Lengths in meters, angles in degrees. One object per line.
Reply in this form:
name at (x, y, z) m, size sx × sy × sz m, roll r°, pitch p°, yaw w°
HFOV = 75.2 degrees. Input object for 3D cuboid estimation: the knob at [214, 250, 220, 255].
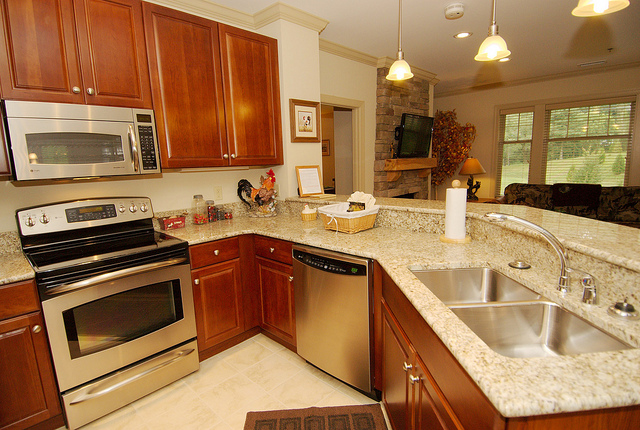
knob at (-0.875, 0.316, 3.533) m, size 0.028 × 0.022 × 0.026 m, roll 13°, pitch 25°, yaw 34°

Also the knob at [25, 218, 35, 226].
knob at (-2.173, 0.051, 3.116) m, size 0.059 × 0.057 × 0.018 m, roll -10°, pitch 13°, yaw -34°

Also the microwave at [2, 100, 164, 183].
microwave at (-1.899, -0.400, 3.277) m, size 0.594 × 0.615 × 0.991 m, roll 8°, pitch 11°, yaw 39°

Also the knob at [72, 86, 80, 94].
knob at (-1.847, -0.954, 3.149) m, size 0.046 × 0.047 × 0.018 m, roll -9°, pitch 13°, yaw -31°

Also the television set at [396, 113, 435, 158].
television set at (1.384, -1.160, 6.141) m, size 0.141 × 0.624 × 1.065 m, roll 7°, pitch 9°, yaw 35°

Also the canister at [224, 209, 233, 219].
canister at (-0.916, -0.008, 4.174) m, size 0.080 × 0.085 × 0.081 m, roll -3°, pitch 9°, yaw -6°

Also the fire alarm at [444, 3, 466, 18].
fire alarm at (1.341, -2.064, 4.187) m, size 0.190 × 0.096 × 0.168 m, roll -9°, pitch 12°, yaw -33°

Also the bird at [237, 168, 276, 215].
bird at (-0.648, -0.233, 4.210) m, size 0.436 × 0.433 × 0.204 m, roll 7°, pitch 14°, yaw 42°

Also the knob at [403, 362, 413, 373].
knob at (0.552, 0.964, 2.650) m, size 0.049 × 0.024 × 0.067 m, roll 2°, pitch 3°, yaw 18°

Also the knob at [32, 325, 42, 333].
knob at (-1.975, 0.796, 2.905) m, size 0.054 × 0.055 × 0.023 m, roll -8°, pitch 12°, yaw -29°

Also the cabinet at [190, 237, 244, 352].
cabinet at (-0.897, 0.629, 3.619) m, size 0.411 × 0.924 × 0.389 m, roll 11°, pitch 11°, yaw 39°

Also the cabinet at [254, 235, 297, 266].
cabinet at (-0.351, 0.275, 3.710) m, size 0.407 × 0.202 × 0.268 m, roll 10°, pitch 14°, yaw 27°

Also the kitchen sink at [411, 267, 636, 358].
kitchen sink at (1.186, 0.597, 2.589) m, size 1.152 × 0.411 × 0.462 m, roll 1°, pitch 11°, yaw 19°

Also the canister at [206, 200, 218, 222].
canister at (-1.050, -0.035, 4.046) m, size 0.095 × 0.197 × 0.069 m, roll -5°, pitch 11°, yaw -14°

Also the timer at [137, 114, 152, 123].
timer at (-1.433, -0.788, 3.370) m, size 0.010 × 0.046 × 0.077 m, roll 14°, pitch 15°, yaw 42°

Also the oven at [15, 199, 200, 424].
oven at (-1.607, 0.669, 3.323) m, size 1.095 × 1.590 × 0.641 m, roll -11°, pitch 14°, yaw -38°
